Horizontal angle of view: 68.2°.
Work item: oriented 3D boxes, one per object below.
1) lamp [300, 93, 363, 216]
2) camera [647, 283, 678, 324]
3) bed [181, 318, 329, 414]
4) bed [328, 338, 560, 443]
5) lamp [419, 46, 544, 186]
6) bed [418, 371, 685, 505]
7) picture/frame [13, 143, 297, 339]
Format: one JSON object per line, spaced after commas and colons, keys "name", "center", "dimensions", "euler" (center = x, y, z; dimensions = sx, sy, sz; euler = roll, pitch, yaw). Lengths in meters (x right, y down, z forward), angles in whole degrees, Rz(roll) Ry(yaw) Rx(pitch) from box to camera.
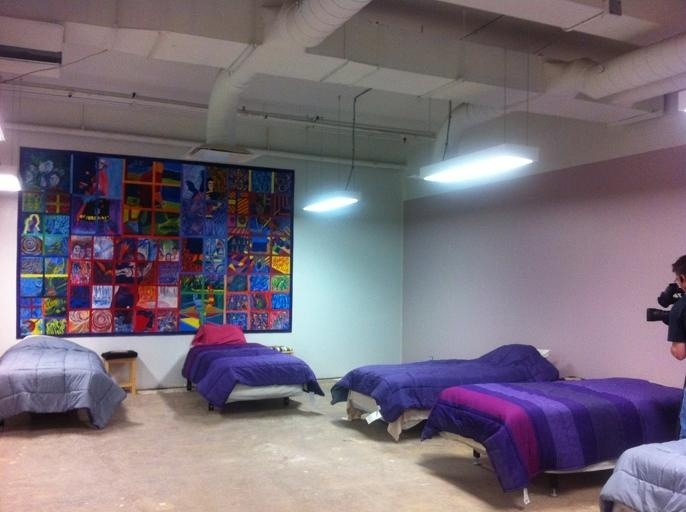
{"name": "lamp", "center": [-0.137, -1.643, 8.940], "dimensions": [0.878, 1.780, 2.380], "euler": [1, -1, 0]}
{"name": "camera", "center": [3.129, 0.463, 4.959], "dimensions": [0.163, 0.427, 0.418], "euler": [27, 15, 20]}
{"name": "bed", "center": [-1.699, 1.628, 7.854], "dimensions": [1.218, 0.733, 1.764], "euler": [3, -5, -29]}
{"name": "bed", "center": [1.385, 1.660, 6.776], "dimensions": [2.072, 0.838, 1.414], "euler": [2, -7, -19]}
{"name": "lamp", "center": [1.866, -1.845, 6.653], "dimensions": [0.512, 1.427, 1.608], "euler": [10, -10, -29]}
{"name": "bed", "center": [2.215, 1.603, 4.969], "dimensions": [1.880, 0.561, 1.194], "euler": [1, -6, -25]}
{"name": "picture/frame", "center": [-3.209, -0.205, 8.698], "dimensions": [4.331, 2.982, 0.031], "euler": [0, -3, -9]}
